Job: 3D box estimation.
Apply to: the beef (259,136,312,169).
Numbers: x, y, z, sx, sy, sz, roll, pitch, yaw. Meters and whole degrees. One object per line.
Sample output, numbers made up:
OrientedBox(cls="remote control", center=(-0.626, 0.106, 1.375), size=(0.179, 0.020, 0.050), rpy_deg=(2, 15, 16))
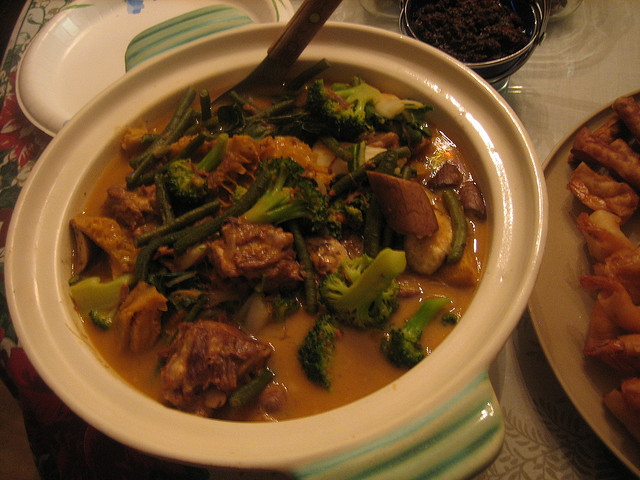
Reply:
OrientedBox(cls="beef", center=(-0.133, -0.373, 2.366), size=(0.152, 0.051, 0.158), rpy_deg=(-2, 39, 9))

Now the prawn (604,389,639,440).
OrientedBox(cls="prawn", center=(1.179, 0.677, 2.250), size=(0.038, 0.102, 0.171), rpy_deg=(-22, 74, -35))

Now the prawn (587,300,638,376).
OrientedBox(cls="prawn", center=(1.171, 0.400, 2.287), size=(0.186, 0.094, 0.243), rpy_deg=(42, 66, 1))

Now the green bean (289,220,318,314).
OrientedBox(cls="green bean", center=(-0.058, 0.123, 2.236), size=(0.044, 0.052, 0.508), rpy_deg=(-2, 70, -27))

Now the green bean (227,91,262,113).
OrientedBox(cls="green bean", center=(-0.341, -0.610, 2.531), size=(0.159, 0.024, 0.034), rpy_deg=(35, 53, 7))

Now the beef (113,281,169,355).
OrientedBox(cls="beef", center=(-0.699, 0.301, 2.208), size=(0.251, 0.073, 0.249), rpy_deg=(-48, 58, 18))

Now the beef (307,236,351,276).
OrientedBox(cls="beef", center=(0.023, 0.042, 2.275), size=(0.139, 0.225, 0.055), rpy_deg=(-27, 39, 16))

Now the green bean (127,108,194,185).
OrientedBox(cls="green bean", center=(-0.683, -0.388, 2.433), size=(0.068, 0.054, 0.392), rpy_deg=(39, 84, -16))

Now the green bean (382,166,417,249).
OrientedBox(cls="green bean", center=(0.310, -0.128, 2.269), size=(0.069, 0.275, 0.261), rpy_deg=(9, 29, 20))

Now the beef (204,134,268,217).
OrientedBox(cls="beef", center=(-0.351, -0.297, 2.292), size=(0.212, 0.135, 0.367), rpy_deg=(5, 68, -1))

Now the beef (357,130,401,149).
OrientedBox(cls="beef", center=(0.244, -0.428, 2.414), size=(0.137, 0.090, 0.052), rpy_deg=(10, 66, 8))

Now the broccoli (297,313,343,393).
OrientedBox(cls="broccoli", center=(-0.008, 0.419, 2.106), size=(0.154, 0.079, 0.260), rpy_deg=(6, 76, 0))

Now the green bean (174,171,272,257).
OrientedBox(cls="green bean", center=(-0.390, -0.092, 2.263), size=(0.072, 0.059, 0.388), rpy_deg=(31, 68, 30))

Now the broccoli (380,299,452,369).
OrientedBox(cls="broccoli", center=(0.348, 0.316, 2.188), size=(0.164, 0.133, 0.310), rpy_deg=(23, 60, 16))

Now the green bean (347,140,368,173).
OrientedBox(cls="green bean", center=(0.156, -0.340, 2.339), size=(0.078, 0.039, 0.247), rpy_deg=(-4, 53, 7))

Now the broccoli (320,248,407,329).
OrientedBox(cls="broccoli", center=(0.160, 0.205, 2.165), size=(0.239, 0.342, 0.145), rpy_deg=(1, 49, -15))

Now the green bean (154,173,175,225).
OrientedBox(cls="green bean", center=(-0.631, -0.167, 2.332), size=(0.050, 0.042, 0.260), rpy_deg=(-13, 74, -1))

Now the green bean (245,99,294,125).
OrientedBox(cls="green bean", center=(-0.221, -0.555, 2.497), size=(0.196, 0.032, 0.037), rpy_deg=(-28, 41, -3))

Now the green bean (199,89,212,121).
OrientedBox(cls="green bean", center=(-0.502, -0.584, 2.469), size=(0.035, 0.139, 0.039), rpy_deg=(2, 51, -8))

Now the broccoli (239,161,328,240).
OrientedBox(cls="broccoli", center=(-0.136, -0.151, 2.270), size=(0.307, 0.163, 0.303), rpy_deg=(-21, 74, -6))

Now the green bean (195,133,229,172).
OrientedBox(cls="green bean", center=(-0.448, -0.335, 2.393), size=(0.065, 0.268, 0.078), rpy_deg=(-10, 70, -47))

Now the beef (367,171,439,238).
OrientedBox(cls="beef", center=(0.318, -0.131, 2.216), size=(0.305, 0.115, 0.200), rpy_deg=(10, 77, 5))

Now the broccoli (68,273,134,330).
OrientedBox(cls="broccoli", center=(-0.875, 0.238, 2.269), size=(0.213, 0.081, 0.242), rpy_deg=(-37, 84, 5))

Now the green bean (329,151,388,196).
OrientedBox(cls="green bean", center=(0.160, -0.265, 2.305), size=(0.253, 0.039, 0.060), rpy_deg=(-42, 91, -1))

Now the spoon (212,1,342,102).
OrientedBox(cls="spoon", center=(-0.160, -0.788, 2.450), size=(0.264, 0.687, 0.075), rpy_deg=(33, 57, -22))

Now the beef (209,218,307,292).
OrientedBox(cls="beef", center=(-0.238, 0.062, 2.201), size=(0.322, 0.124, 0.281), rpy_deg=(18, 80, -5))

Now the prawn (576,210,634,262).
OrientedBox(cls="prawn", center=(1.212, -0.038, 2.465), size=(0.179, 0.113, 0.252), rpy_deg=(-33, 81, 18))

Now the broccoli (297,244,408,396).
OrientedBox(cls="broccoli", center=(0.112, 0.257, 2.182), size=(0.343, 0.157, 0.596), rpy_deg=(26, 93, 1))

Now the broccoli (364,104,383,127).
OrientedBox(cls="broccoli", center=(0.220, -0.533, 2.455), size=(0.075, 0.023, 0.084), rpy_deg=(-22, 88, -14))

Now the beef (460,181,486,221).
OrientedBox(cls="beef", center=(0.619, -0.159, 2.308), size=(0.083, 0.042, 0.147), rpy_deg=(-7, 62, 1))

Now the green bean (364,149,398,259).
OrientedBox(cls="green bean", center=(0.235, -0.123, 2.270), size=(0.090, 0.066, 0.477), rpy_deg=(6, 95, 6))

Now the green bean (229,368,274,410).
OrientedBox(cls="green bean", center=(-0.247, 0.550, 2.196), size=(0.075, 0.058, 0.221), rpy_deg=(1, 32, 45))

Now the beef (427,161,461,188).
OrientedBox(cls="beef", center=(0.514, -0.260, 2.359), size=(0.094, 0.035, 0.099), rpy_deg=(-38, 42, 12))

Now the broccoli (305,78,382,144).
OrientedBox(cls="broccoli", center=(0.111, -0.583, 2.551), size=(0.307, 0.164, 0.390), rpy_deg=(-32, 25, 24))

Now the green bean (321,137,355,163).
OrientedBox(cls="green bean", center=(0.072, -0.375, 2.376), size=(0.042, 0.055, 0.228), rpy_deg=(-31, 41, -3))

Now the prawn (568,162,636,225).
OrientedBox(cls="prawn", center=(1.232, -0.204, 2.602), size=(0.304, 0.109, 0.208), rpy_deg=(37, 89, 17))
